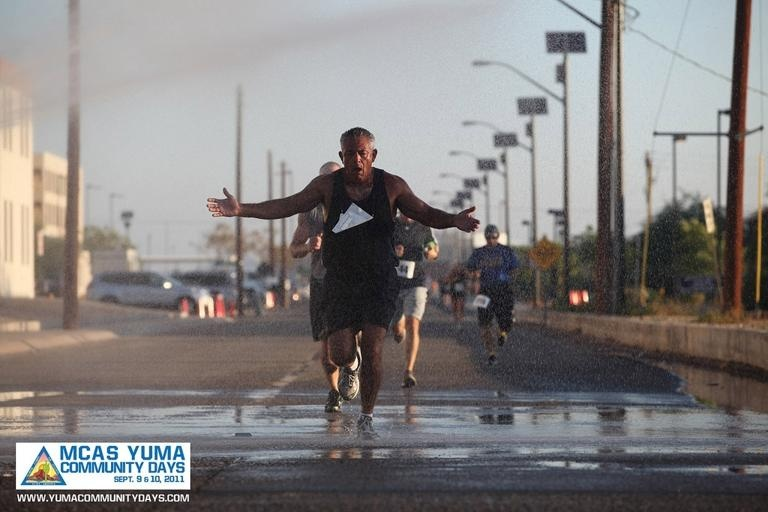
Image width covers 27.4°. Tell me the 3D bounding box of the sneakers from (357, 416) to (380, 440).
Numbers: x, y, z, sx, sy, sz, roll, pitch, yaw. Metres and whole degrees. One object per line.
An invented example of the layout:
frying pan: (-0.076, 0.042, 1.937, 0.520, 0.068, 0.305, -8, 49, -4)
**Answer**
sneakers: (-0.215, 2.164, 19.592, 0.142, 0.196, 0.442, 1, 1, 9)

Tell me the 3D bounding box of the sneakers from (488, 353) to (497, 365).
sneakers: (1.837, 1.765, 26.504, 0.200, 0.224, 0.159, -1, -4, 6)
